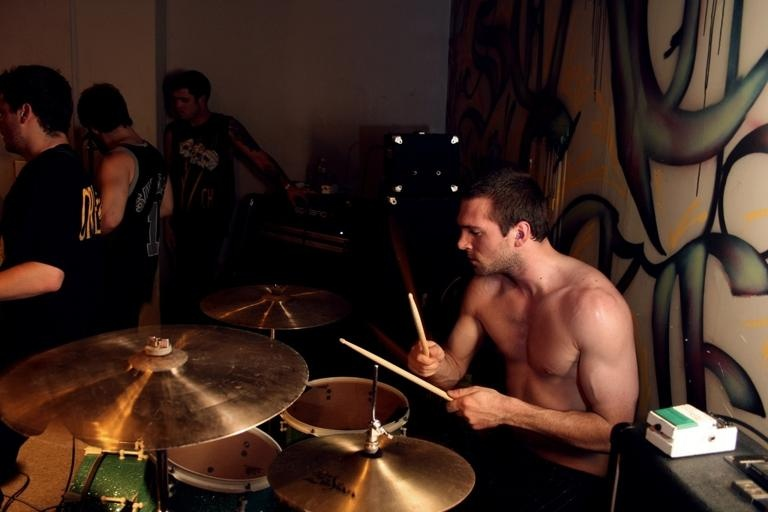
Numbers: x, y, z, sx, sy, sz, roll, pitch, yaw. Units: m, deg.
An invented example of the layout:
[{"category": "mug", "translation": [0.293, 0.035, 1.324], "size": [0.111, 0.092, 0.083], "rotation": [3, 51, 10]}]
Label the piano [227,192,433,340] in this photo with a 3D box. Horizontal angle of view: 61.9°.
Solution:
[{"category": "piano", "translation": [-0.510, 0.011, 4.667], "size": [1.084, 0.779, 0.619], "rotation": [10, -8, 14]}]
